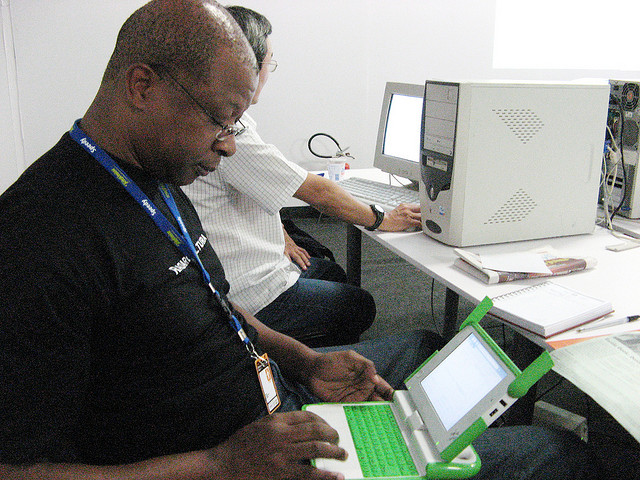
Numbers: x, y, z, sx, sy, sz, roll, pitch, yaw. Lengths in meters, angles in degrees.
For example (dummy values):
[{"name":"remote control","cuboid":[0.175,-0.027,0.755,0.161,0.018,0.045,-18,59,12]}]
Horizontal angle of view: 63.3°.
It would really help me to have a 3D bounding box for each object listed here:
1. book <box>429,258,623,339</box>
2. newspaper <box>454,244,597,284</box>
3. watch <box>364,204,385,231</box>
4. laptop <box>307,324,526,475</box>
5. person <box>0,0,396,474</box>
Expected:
[{"name":"book","cuboid":[0.572,0.149,1.413,0.325,0.054,0.393,-9,20,-22]},{"name":"newspaper","cuboid":[0.616,0.061,1.548,0.403,0.050,0.197,-5,20,-11]},{"name":"watch","cuboid":[0.217,-0.095,1.897,0.059,0.097,0.100,20,21,27]},{"name":"laptop","cuboid":[0.209,0.322,1.057,0.376,0.204,0.249,9,22,-21]},{"name":"person","cuboid":[-0.241,0.007,1.043,0.649,0.918,0.575,-2,20,-1]}]
